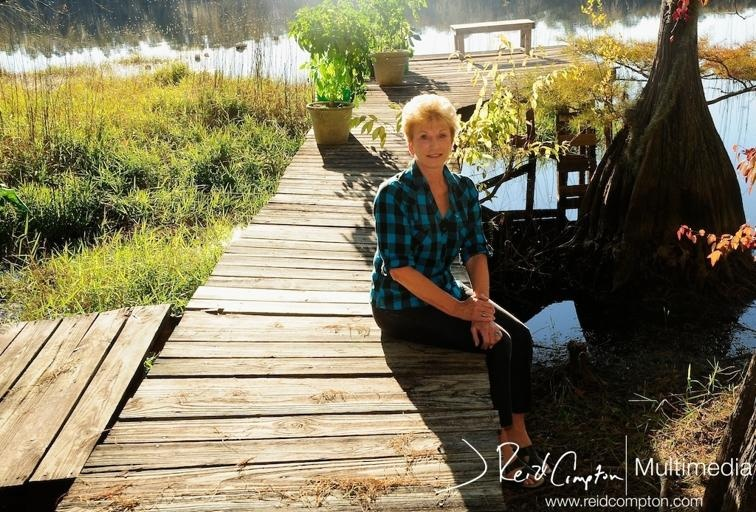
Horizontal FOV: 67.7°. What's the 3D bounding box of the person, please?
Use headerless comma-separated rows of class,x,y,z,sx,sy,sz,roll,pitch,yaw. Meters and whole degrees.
person,0.467,0.172,3.149,0.648,2.032,1.040,-25,31,-38

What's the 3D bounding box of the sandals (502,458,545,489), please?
sandals,0.779,1.194,3.053,0.213,0.236,0.130,1,24,12

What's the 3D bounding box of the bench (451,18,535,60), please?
bench,2.250,-4.361,11.118,1.538,0.582,1.480,1,22,12

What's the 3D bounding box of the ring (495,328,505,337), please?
ring,0.645,0.412,3.016,0.040,0.051,0.014,4,61,-3
